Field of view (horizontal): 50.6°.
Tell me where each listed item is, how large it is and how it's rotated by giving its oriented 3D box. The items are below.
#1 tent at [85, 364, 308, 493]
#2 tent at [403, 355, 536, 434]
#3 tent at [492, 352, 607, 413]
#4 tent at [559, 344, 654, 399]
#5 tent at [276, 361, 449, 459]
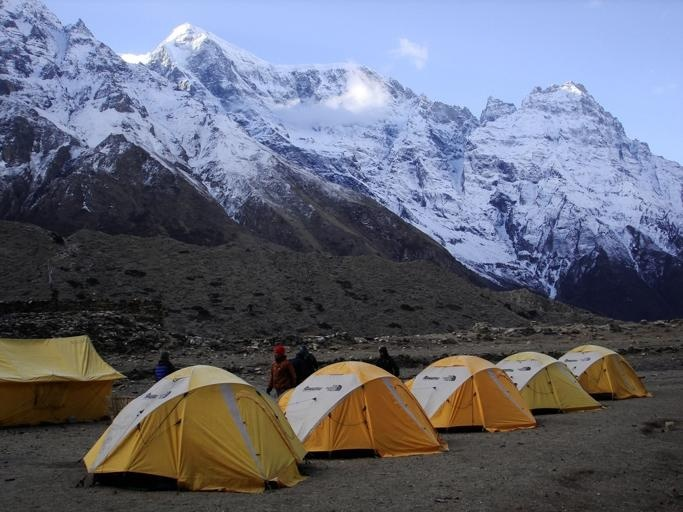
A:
[{"bbox_3d":[-3.695,4.451,17.829,4.178,1.613,3.996,0,0,27],"label":"tent"},{"bbox_3d":[3.888,4.422,22.649,3.328,1.049,2.839,-1,1,29],"label":"tent"},{"bbox_3d":[6.948,4.409,24.678,2.853,1.041,2.625,-3,-1,34],"label":"tent"},{"bbox_3d":[9.930,4.382,27.112,2.834,1.041,2.449,0,2,35],"label":"tent"},{"bbox_3d":[0.576,4.335,20.148,3.573,1.224,3.185,-1,1,6],"label":"tent"}]
